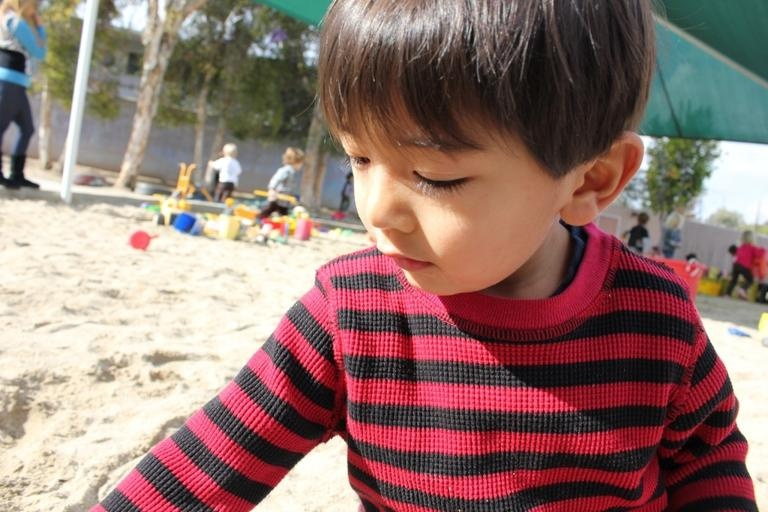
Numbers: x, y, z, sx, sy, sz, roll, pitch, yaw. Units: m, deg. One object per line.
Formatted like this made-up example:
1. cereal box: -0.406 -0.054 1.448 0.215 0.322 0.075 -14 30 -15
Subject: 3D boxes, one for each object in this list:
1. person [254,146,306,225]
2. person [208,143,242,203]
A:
1. person: -1.876 -1.259 11.308 0.519 0.843 1.956 8 32 12
2. person: -2.481 -1.258 10.084 0.432 1.041 0.432 28 18 37
